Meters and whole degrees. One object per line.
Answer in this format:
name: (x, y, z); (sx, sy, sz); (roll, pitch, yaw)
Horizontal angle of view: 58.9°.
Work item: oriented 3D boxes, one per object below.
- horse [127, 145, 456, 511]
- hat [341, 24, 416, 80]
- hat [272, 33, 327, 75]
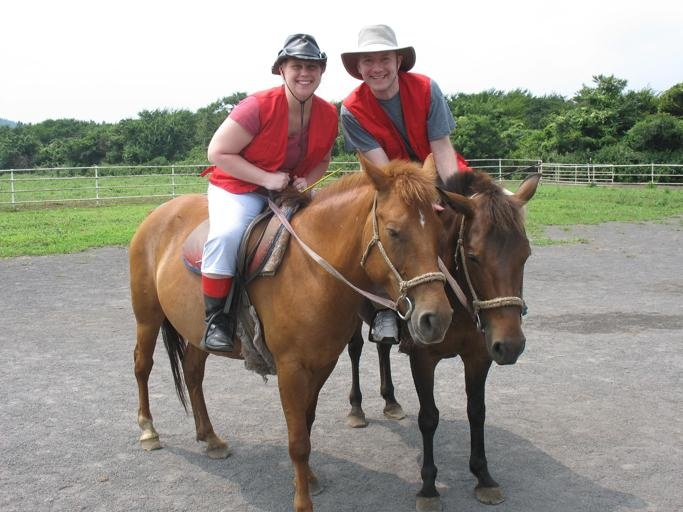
horse: (-0.515, 0.556, 4.830); (2.964, 2.681, 0.900); (7, 16, 32)
hat: (0.298, -1.902, 5.430); (0.575, 0.278, 0.640); (-4, 5, -14)
hat: (-0.318, -1.679, 5.029); (0.402, 0.264, 0.570); (-1, 5, -1)
